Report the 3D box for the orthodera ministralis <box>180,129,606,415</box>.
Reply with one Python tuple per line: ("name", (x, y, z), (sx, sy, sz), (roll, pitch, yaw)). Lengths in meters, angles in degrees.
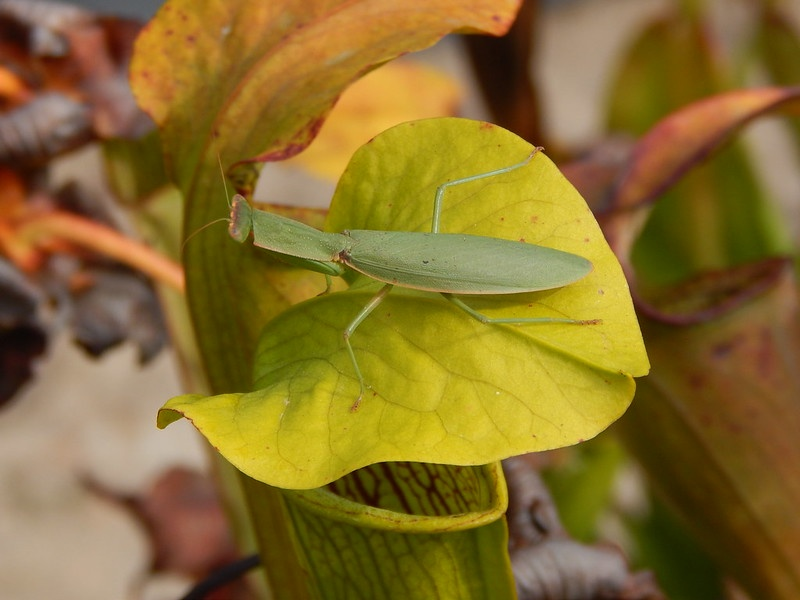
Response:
("orthodera ministralis", (0.020, -0.048, 1.121), (0.393, 0.178, 0.323), (-18, 48, 13))
